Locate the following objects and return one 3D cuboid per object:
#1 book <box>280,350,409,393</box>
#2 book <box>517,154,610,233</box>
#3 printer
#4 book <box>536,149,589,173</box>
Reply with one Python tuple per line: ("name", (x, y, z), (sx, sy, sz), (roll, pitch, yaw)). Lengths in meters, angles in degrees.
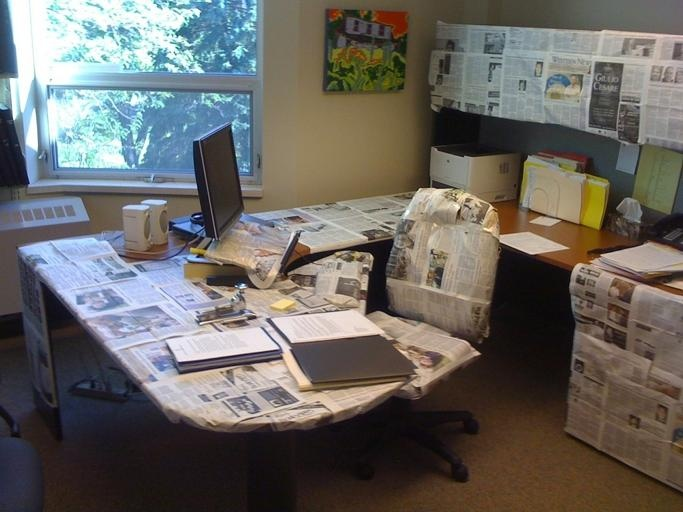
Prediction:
("book", (-0.011, 0.389, 1.619), (0.426, 0.043, 0.172), (5, 22, 15))
("book", (1.332, -0.363, 3.005), (0.066, 0.268, 0.449), (-15, 29, -32))
("printer", (0.895, -0.577, 3.398), (0.474, 0.282, 0.457), (-14, 25, -34))
("book", (1.365, -0.582, 3.094), (0.164, 0.069, 0.220), (12, 27, 28))
